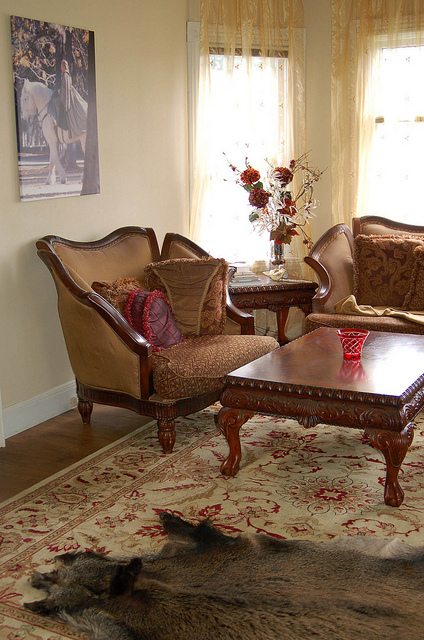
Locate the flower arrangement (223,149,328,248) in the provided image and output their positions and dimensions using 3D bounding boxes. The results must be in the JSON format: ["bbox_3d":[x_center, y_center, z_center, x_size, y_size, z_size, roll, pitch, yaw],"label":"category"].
[{"bbox_3d":[0.538,-1.054,4.493,0.849,0.905,0.940,-2,-3,11],"label":"flower arrangement"}]

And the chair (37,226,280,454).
[{"bbox_3d":[-0.307,0.008,3.101,1.096,1.084,1.024,5,15,36],"label":"chair"}]

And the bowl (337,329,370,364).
[{"bbox_3d":[0.665,0.119,2.509,0.158,0.140,0.154,0,3,0],"label":"bowl"}]
